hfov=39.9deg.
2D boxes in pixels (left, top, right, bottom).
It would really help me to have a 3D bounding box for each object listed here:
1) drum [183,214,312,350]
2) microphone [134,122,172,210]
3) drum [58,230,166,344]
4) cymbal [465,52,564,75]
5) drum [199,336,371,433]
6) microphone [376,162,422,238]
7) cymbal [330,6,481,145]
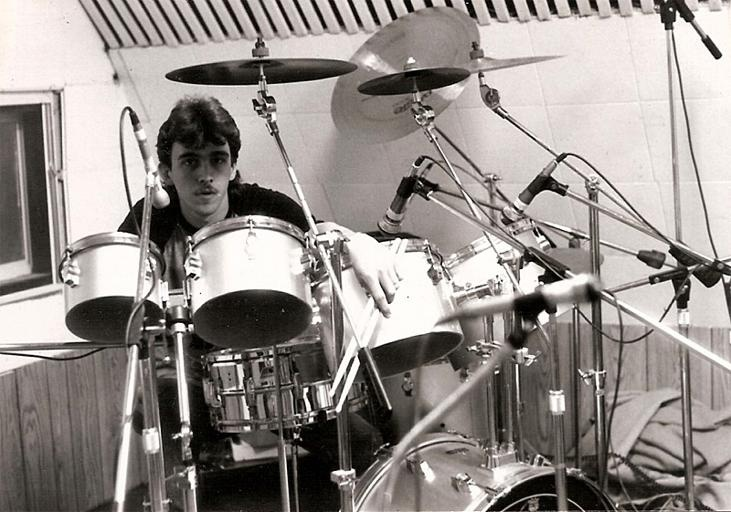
[{"bbox_3d":[-0.654,0.050,3.822,0.590,0.406,0.599,-8,7,1],"label":"drum"},{"bbox_3d":[-0.736,-0.296,3.466,0.099,0.320,0.092,-1,14,40],"label":"microphone"},{"bbox_3d":[-0.956,0.104,3.814,0.451,0.302,0.418,-8,-37,-6],"label":"drum"},{"bbox_3d":[0.618,-0.807,4.220,0.399,0.096,0.159,-5,10,7],"label":"cymbal"},{"bbox_3d":[-0.324,0.469,3.849,0.462,0.162,0.384,2,-17,-34],"label":"drum"},{"bbox_3d":[0.136,-0.256,4.349,0.117,0.135,0.398,-49,-9,-32],"label":"microphone"},{"bbox_3d":[0.143,-0.815,4.334,0.588,0.148,0.581,-38,-3,-31],"label":"cymbal"}]
